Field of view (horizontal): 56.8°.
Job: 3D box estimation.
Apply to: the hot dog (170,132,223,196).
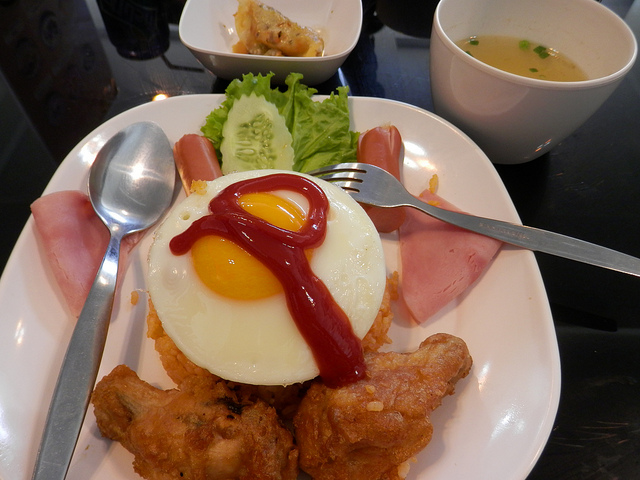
[{"bbox_3d":[-0.894,-0.556,4.356,0.273,0.179,0.550,-19,76,-10],"label":"hot dog"}]
